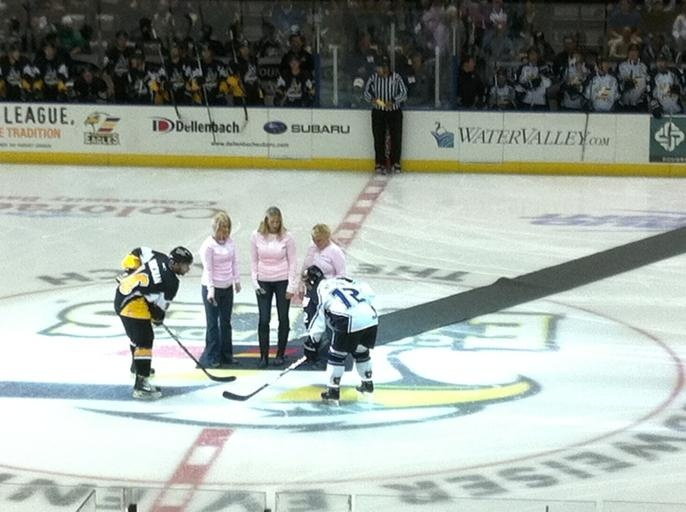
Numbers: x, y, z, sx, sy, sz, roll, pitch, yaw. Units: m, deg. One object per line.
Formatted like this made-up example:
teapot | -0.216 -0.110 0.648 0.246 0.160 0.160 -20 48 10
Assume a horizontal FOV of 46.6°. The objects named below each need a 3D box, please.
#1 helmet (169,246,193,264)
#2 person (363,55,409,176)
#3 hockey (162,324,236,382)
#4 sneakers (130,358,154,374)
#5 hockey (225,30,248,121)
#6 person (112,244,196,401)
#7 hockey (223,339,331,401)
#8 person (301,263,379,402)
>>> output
helmet | -1.502 0.002 7.491 0.232 0.177 0.165 -8 3 -28
person | 0.889 -2.830 16.136 0.789 2.300 0.354 -2 11 3
hockey | -1.468 1.022 8.155 0.118 0.840 0.090 -52 2 -14
sneakers | -1.991 1.063 7.798 0.200 0.222 0.240 0 -3 2
hockey | -2.269 -3.763 17.025 0.198 2.168 0.291 -15 -9 18
person | -1.868 0.730 7.880 0.830 1.410 0.849 -6 37 -32
hockey | -0.603 1.085 7.309 1.193 0.208 0.189 -32 -1 18
person | -0.037 0.707 7.644 0.642 1.198 0.835 -5 11 -13
